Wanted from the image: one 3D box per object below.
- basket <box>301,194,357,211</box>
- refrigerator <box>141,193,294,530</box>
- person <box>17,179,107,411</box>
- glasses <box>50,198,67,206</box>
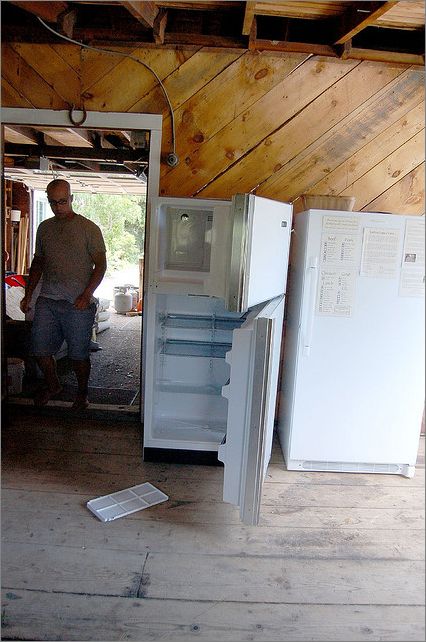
[{"bbox_3d":[0.625,-0.650,3.075,0.182,0.078,0.252,2,4,1],"label":"basket"},{"bbox_3d":[-0.001,0.133,2.742,0.679,1.437,1.582,4,11,-6],"label":"refrigerator"},{"bbox_3d":[-0.960,-0.144,3.610,0.559,1.487,0.351,7,12,10],"label":"person"},{"bbox_3d":[-0.929,-0.723,3.410,0.096,0.044,0.046,2,12,-12],"label":"glasses"}]
